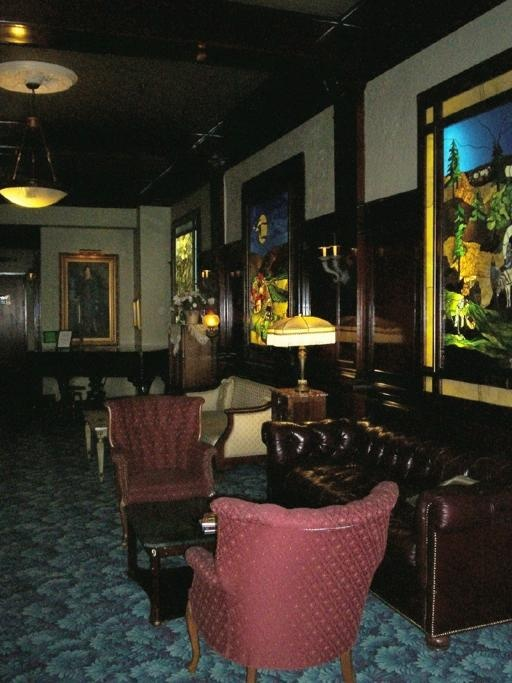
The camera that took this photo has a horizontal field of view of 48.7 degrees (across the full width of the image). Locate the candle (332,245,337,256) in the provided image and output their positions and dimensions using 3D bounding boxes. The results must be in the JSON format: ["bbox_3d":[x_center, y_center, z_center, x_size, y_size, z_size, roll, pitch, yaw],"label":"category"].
[{"bbox_3d":[0.678,-0.788,4.907,0.046,0.085,0.086,-1,1,9],"label":"candle"}]

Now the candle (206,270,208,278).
[{"bbox_3d":[-0.733,-1.005,8.353,0.039,0.090,0.093,-1,1,6],"label":"candle"}]

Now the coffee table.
[{"bbox_3d":[-0.448,1.072,3.076,0.791,0.405,0.598,-3,8,-27],"label":"coffee table"}]

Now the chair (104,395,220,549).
[{"bbox_3d":[-0.703,0.911,4.141,0.783,0.949,0.846,-2,-2,5],"label":"chair"}]

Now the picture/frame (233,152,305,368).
[{"bbox_3d":[0.165,-0.865,6.414,0.148,2.248,1.664,-2,1,-21],"label":"picture/frame"}]

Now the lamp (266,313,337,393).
[{"bbox_3d":[0.368,0.105,4.730,0.616,0.651,0.605,0,3,15],"label":"lamp"}]

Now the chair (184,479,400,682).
[{"bbox_3d":[0.116,0.788,2.211,0.734,0.827,0.757,1,1,-18],"label":"chair"}]

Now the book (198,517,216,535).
[{"bbox_3d":[-0.252,0.953,2.912,0.071,0.031,0.092,1,0,-4],"label":"book"}]

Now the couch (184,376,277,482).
[{"bbox_3d":[-0.347,0.822,6.061,0.662,0.723,1.387,1,5,-27],"label":"couch"}]

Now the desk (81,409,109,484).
[{"bbox_3d":[-1.751,1.154,6.130,0.482,0.592,0.821,1,2,-15],"label":"desk"}]

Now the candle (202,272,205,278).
[{"bbox_3d":[-0.788,-0.994,8.380,0.036,0.081,0.139,-1,1,-13],"label":"candle"}]

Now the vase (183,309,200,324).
[{"bbox_3d":[-0.898,-0.340,7.904,0.182,0.184,0.179,2,-7,-13],"label":"vase"}]
